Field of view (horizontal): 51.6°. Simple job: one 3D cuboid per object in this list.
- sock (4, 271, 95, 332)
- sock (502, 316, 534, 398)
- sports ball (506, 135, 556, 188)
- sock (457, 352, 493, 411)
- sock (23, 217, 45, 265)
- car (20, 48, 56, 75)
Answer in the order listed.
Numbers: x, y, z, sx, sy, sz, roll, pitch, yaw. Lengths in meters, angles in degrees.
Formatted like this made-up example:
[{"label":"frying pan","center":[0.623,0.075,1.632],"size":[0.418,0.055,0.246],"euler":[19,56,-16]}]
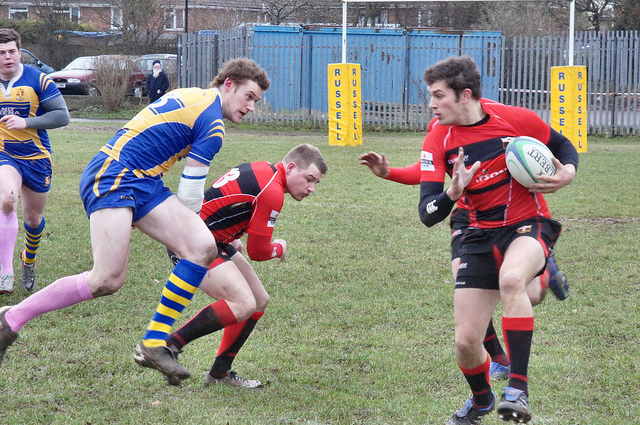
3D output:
[{"label":"sock","center":[-2.763,0.932,6.769],"size":[0.917,0.281,0.302],"euler":[-27,43,5]},{"label":"sock","center":[1.675,1.221,5.666],"size":[0.248,0.653,0.342],"euler":[4,11,16]},{"label":"sports ball","center":[1.874,-0.464,6.052],"size":[0.465,0.349,0.374],"euler":[34,27,-41]},{"label":"sock","center":[1.421,1.528,5.952],"size":[0.338,0.466,0.115],"euler":[-5,12,-26]},{"label":"sock","center":[-3.506,0.354,8.104],"size":[0.255,0.517,0.190],"euler":[-5,12,-25]},{"label":"car","center":[-11.050,-5.742,25.518],"size":[1.532,0.836,0.817],"euler":[-6,23,-31]}]
